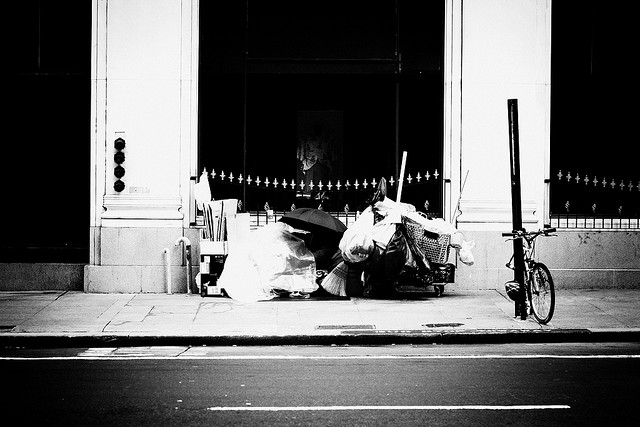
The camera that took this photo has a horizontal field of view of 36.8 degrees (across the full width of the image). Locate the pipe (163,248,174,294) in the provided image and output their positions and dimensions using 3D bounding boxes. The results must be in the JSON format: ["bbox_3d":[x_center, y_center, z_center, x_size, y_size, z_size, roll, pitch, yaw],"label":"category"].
[{"bbox_3d":[-3.412,1.285,21.613,0.135,1.016,0.279,-2,4,-39],"label":"pipe"}]

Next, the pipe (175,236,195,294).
[{"bbox_3d":[-3.013,1.161,21.580,0.236,1.248,0.494,-2,4,-39],"label":"pipe"}]

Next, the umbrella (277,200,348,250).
[{"bbox_3d":[0.037,0.344,20.572,0.928,0.850,0.886,-7,-22,-8],"label":"umbrella"}]
